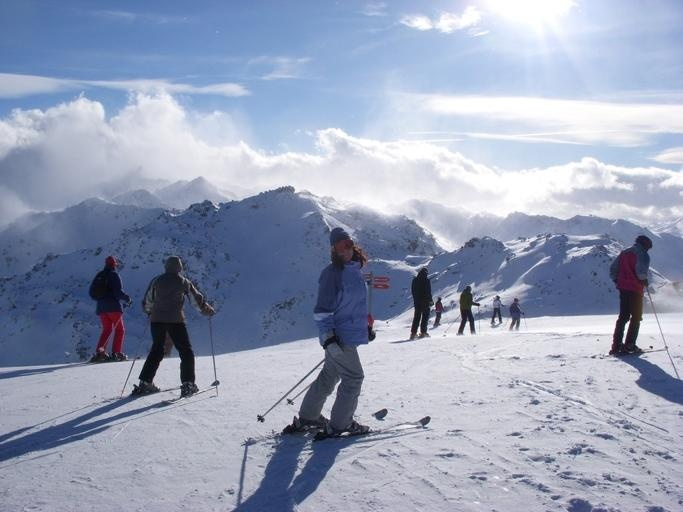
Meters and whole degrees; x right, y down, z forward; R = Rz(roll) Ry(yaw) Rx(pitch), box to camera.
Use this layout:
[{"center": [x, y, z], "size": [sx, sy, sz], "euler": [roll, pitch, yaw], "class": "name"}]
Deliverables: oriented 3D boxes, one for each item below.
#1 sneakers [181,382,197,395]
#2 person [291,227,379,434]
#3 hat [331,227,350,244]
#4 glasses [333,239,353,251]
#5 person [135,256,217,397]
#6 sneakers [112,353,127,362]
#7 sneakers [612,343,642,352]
[{"center": [-2.947, 2.560, 11.297], "size": [0.335, 0.253, 0.191], "euler": [-5, 7, -25], "class": "sneakers"}, {"center": [-0.122, 1.202, 9.097], "size": [1.108, 3.215, 0.575], "euler": [-2, 6, 2], "class": "person"}, {"center": [-0.036, -0.314, 9.171], "size": [0.285, 0.288, 0.217], "euler": [-17, 6, -1], "class": "hat"}, {"center": [0.022, -0.158, 9.003], "size": [0.189, 0.068, 0.199], "euler": [-19, -1, -15], "class": "glasses"}, {"center": [-3.347, 1.376, 11.454], "size": [1.406, 2.672, 0.834], "euler": [-1, 6, 4], "class": "person"}, {"center": [-6.113, 2.753, 15.982], "size": [0.212, 0.218, 0.470], "euler": [2, -1, 14], "class": "sneakers"}, {"center": [6.364, 2.030, 13.055], "size": [0.604, 0.271, 0.230], "euler": [-2, -1, -7], "class": "sneakers"}]
